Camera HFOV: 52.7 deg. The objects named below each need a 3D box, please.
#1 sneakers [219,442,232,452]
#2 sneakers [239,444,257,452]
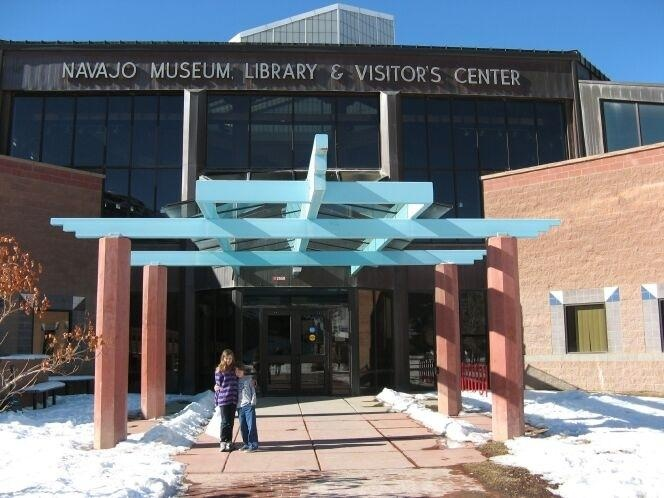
[{"bbox_3d":[-2.280,4.325,14.603,0.272,0.193,0.198,-1,1,-13],"label":"sneakers"},{"bbox_3d":[-1.809,4.371,14.623,0.357,0.130,0.208,0,1,-2],"label":"sneakers"}]
